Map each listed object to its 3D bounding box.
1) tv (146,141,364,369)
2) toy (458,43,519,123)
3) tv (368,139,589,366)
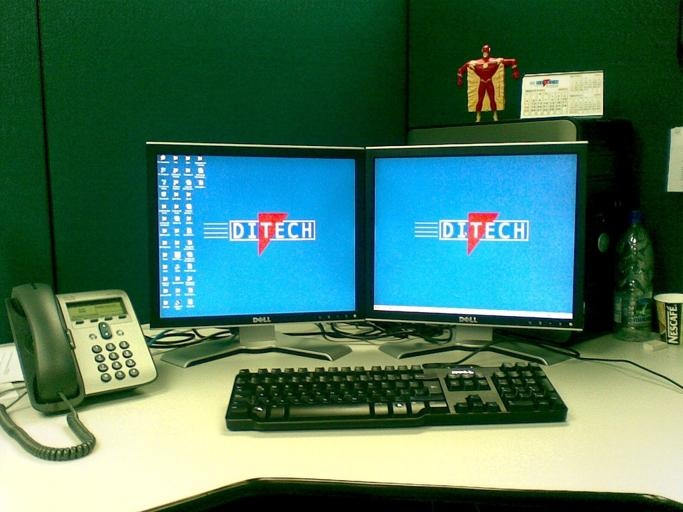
[{"bbox_3d":[-0.215,-0.015,1.581,0.664,0.575,0.244,0,2,-10],"label":"tv"},{"bbox_3d":[0.437,-0.516,1.900,0.171,0.211,0.104,-3,13,8],"label":"toy"},{"bbox_3d":[0.340,-0.021,1.569,0.669,0.577,0.228,0,0,9],"label":"tv"}]
